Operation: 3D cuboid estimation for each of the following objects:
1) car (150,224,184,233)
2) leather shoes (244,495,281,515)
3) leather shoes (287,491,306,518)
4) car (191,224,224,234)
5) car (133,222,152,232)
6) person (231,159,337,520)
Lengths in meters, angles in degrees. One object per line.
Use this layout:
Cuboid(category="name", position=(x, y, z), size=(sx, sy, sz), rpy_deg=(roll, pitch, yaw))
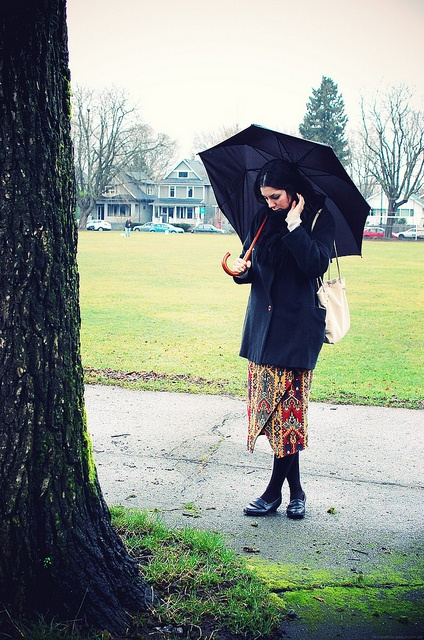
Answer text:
Cuboid(category="car", position=(-3.388, -6.734, 66.083), size=(2.331, 0.700, 0.952), rpy_deg=(2, 9, 21))
Cuboid(category="leather shoes", position=(0.262, 0.955, 4.767), size=(0.196, 0.070, 0.080), rpy_deg=(8, -17, -36))
Cuboid(category="leather shoes", position=(0.443, 0.958, 4.786), size=(0.116, 0.087, 0.298), rpy_deg=(-1, 4, 9))
Cuboid(category="car", position=(-0.294, -6.780, 67.215), size=(2.225, 0.678, 0.949), rpy_deg=(1, 13, 11))
Cuboid(category="car", position=(-5.081, -6.960, 67.379), size=(1.355, 0.569, 1.863), rpy_deg=(2, 6, -5))
Cuboid(category="person", position=(0.364, 0.097, 4.743), size=(0.387, 1.832, 0.567), rpy_deg=(-3, 9, -37))
